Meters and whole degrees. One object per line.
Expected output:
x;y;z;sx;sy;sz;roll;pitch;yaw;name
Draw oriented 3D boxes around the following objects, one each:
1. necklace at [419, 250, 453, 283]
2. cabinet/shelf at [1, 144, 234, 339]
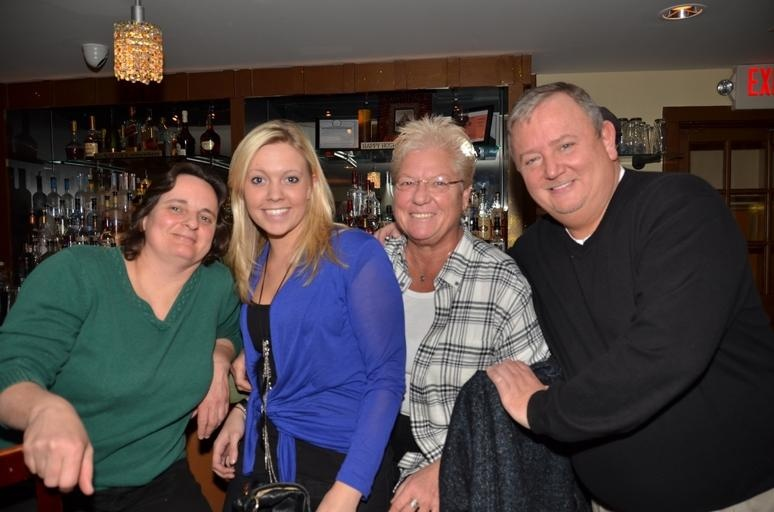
0.210;0.047;2.818;0.111;0.097;0.145;-4;7;8;necklace
-1.068;-0.173;2.821;0.486;0.647;0.665;16;14;23;cabinet/shelf
